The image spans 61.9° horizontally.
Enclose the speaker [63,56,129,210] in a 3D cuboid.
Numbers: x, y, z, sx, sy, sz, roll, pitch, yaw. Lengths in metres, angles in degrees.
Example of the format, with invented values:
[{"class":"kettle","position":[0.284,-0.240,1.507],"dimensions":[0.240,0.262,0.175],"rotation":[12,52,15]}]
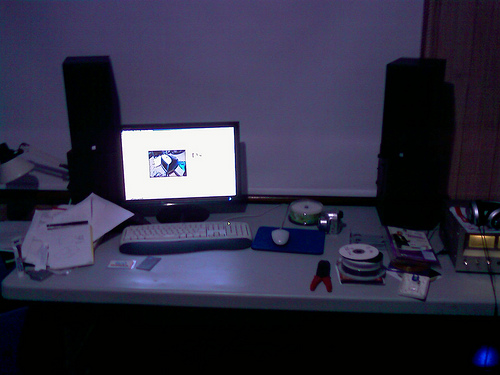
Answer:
[{"class":"speaker","position":[-0.747,-0.247,1.941],"dimensions":[0.229,0.645,0.108],"rotation":[-3,13,6]}]

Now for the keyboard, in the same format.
[{"class":"keyboard","position":[-0.293,0.223,1.836],"dimensions":[0.462,0.079,0.217],"rotation":[-1,27,-2]}]

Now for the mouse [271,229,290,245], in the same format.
[{"class":"mouse","position":[0.131,0.207,1.814],"dimensions":[0.050,0.019,0.072],"rotation":[2,28,9]}]

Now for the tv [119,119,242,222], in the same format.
[{"class":"tv","position":[-0.339,-0.080,1.996],"dimensions":[0.455,0.388,0.173],"rotation":[-1,17,-1]}]

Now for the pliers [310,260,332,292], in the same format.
[{"class":"pliers","position":[0.285,0.341,1.627],"dimensions":[0.086,0.031,0.183],"rotation":[0,27,18]}]
